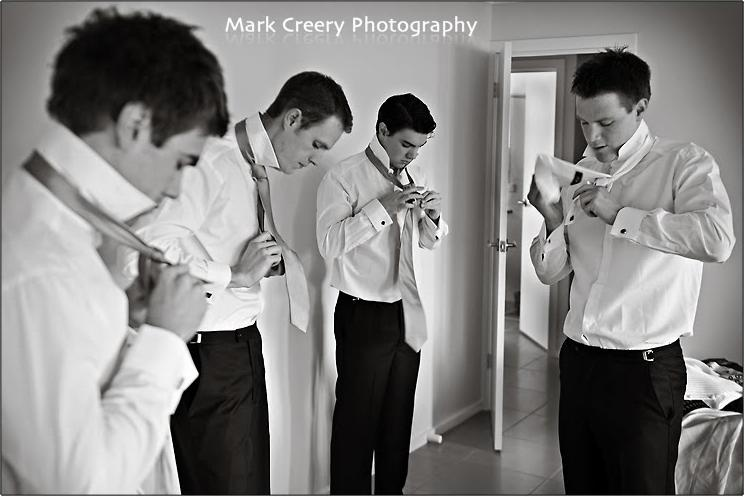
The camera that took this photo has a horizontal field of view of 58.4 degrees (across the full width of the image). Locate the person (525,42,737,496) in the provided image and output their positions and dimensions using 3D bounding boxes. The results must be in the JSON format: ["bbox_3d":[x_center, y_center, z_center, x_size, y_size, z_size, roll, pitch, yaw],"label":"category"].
[{"bbox_3d":[0.920,0.112,2.476,0.698,1.642,0.436,7,12,26],"label":"person"}]

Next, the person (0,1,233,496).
[{"bbox_3d":[-0.734,0.005,1.777,0.528,1.263,0.521,1,11,-2],"label":"person"}]

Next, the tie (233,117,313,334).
[{"bbox_3d":[-0.379,-0.083,2.540,0.225,0.841,0.056,-15,11,-34],"label":"tie"}]

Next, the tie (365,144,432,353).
[{"bbox_3d":[0.103,0.084,3.036,0.064,0.977,0.264,-10,-12,37],"label":"tie"}]
